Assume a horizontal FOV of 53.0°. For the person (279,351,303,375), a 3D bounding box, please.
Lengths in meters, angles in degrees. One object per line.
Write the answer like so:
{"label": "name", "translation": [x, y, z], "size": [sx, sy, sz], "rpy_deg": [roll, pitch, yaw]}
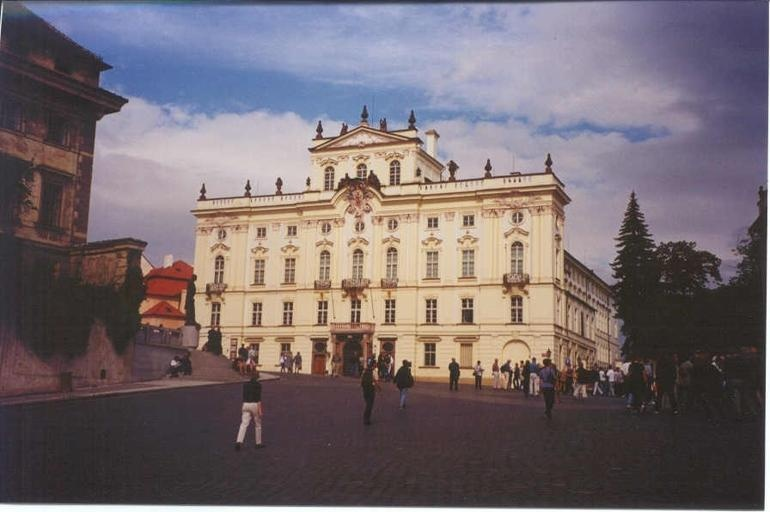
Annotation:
{"label": "person", "translation": [-7.620, 8.660, 62.291], "size": [1.525, 1.394, 0.787], "rpy_deg": [3, -31, 7]}

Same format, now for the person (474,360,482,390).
{"label": "person", "translation": [5.995, 7.651, 49.896], "size": [0.432, 1.719, 1.469], "rpy_deg": [1, 4, 7]}

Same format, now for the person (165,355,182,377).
{"label": "person", "translation": [-11.844, 6.157, 43.225], "size": [0.609, 1.098, 1.235], "rpy_deg": [2, 4, 11]}
